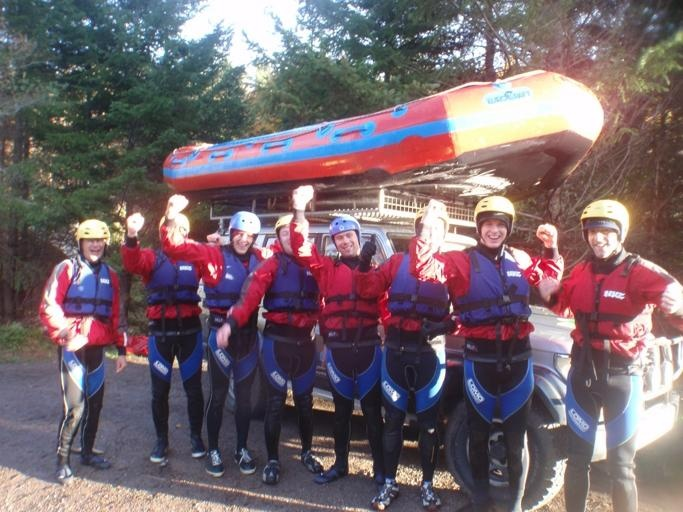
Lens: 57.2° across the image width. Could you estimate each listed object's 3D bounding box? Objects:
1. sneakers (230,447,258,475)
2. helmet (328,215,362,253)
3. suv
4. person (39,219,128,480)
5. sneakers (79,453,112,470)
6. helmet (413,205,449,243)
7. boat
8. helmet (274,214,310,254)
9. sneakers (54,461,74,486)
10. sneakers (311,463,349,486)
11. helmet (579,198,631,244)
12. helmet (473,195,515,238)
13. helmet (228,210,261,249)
[{"bbox_3d":[-1.138,2.390,7.368,0.159,0.182,0.333,2,5,-38],"label":"sneakers"},{"bbox_3d":[0.025,-0.266,7.045,0.266,0.421,0.389,-12,-1,4],"label":"helmet"},{"bbox_3d":[1.465,1.091,8.534,5.513,3.475,2.873,-4,-5,34],"label":"suv"},{"bbox_3d":[-2.956,1.033,7.201,0.903,2.865,0.588,-4,8,-34],"label":"person"},{"bbox_3d":[-2.881,2.390,7.377,0.365,0.186,0.165,6,8,0],"label":"sneakers"},{"bbox_3d":[0.948,-0.344,6.615,0.227,0.323,0.330,26,-37,2],"label":"helmet"},{"bbox_3d":[0.628,-1.374,8.616,4.721,1.238,2.440,-9,-10,22],"label":"boat"},{"bbox_3d":[-0.602,-0.232,7.431,0.325,0.418,0.502,5,-27,-10],"label":"helmet"},{"bbox_3d":[-3.107,2.402,7.036,0.195,0.233,0.226,-3,9,-28],"label":"sneakers"},{"bbox_3d":[-0.136,2.459,7.171,0.416,0.203,0.160,0,6,-32],"label":"sneakers"},{"bbox_3d":[2.756,-0.329,6.358,0.451,0.472,0.468,-12,-9,12],"label":"helmet"},{"bbox_3d":[1.610,-0.383,6.613,0.386,0.532,0.466,7,-8,-13],"label":"helmet"},{"bbox_3d":[-1.186,-0.374,7.620,0.264,0.380,0.372,20,3,-16],"label":"helmet"}]
